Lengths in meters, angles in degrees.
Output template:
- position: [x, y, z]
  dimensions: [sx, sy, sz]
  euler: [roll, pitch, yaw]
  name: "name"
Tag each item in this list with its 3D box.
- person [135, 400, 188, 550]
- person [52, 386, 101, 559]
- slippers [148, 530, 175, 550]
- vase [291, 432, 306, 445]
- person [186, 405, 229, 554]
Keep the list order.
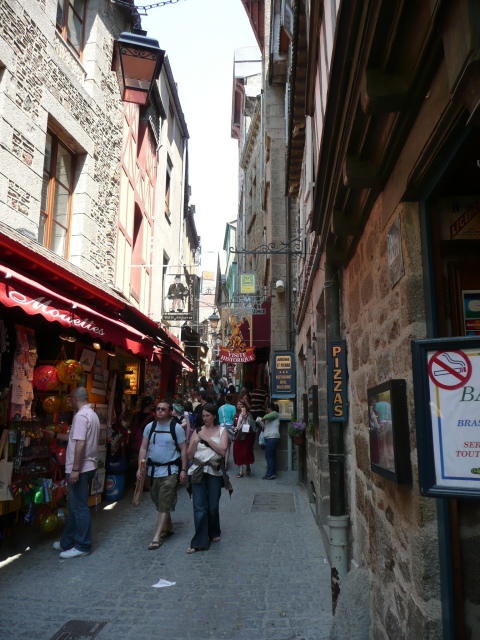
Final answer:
- position: [-1.097, 2.104, 6.008]
  dimensions: [0.672, 1.927, 0.789]
  euler: [7, -10, -38]
  name: "person"
- position: [-2.035, 1.844, 5.378]
  dimensions: [0.412, 2.018, 0.550]
  euler: [2, -8, -7]
  name: "person"
- position: [-1.080, 2.995, 5.850]
  dimensions: [0.099, 0.160, 0.489]
  euler: [-2, -18, 5]
  name: "slippers"
- position: [1.432, 2.887, 10.437]
  dimensions: [0.204, 0.250, 0.255]
  euler: [-1, -10, 21]
  name: "vase"
- position: [-0.438, 2.107, 5.888]
  dimensions: [0.547, 1.879, 0.567]
  euler: [3, -8, -14]
  name: "person"
